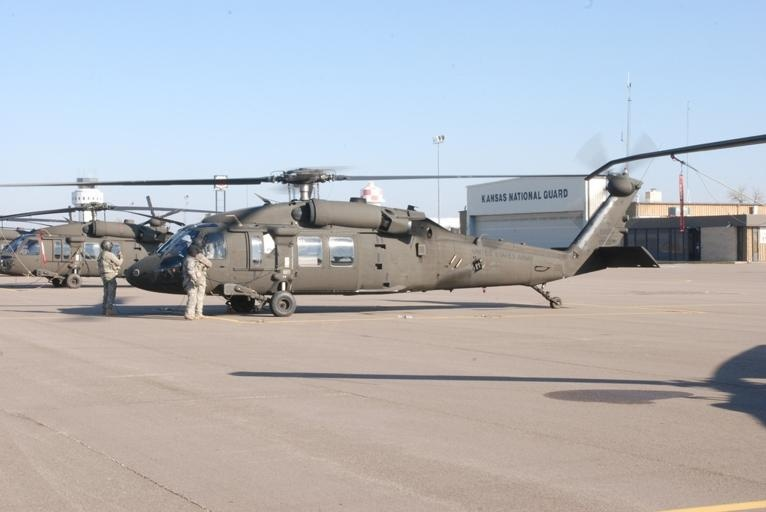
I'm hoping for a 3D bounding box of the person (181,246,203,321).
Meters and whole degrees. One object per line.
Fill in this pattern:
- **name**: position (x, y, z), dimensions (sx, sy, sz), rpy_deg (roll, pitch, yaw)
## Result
- **person**: position (-4.835, 0.658, 23.781), dimensions (0.423, 1.782, 0.938), rpy_deg (-1, 9, -11)
